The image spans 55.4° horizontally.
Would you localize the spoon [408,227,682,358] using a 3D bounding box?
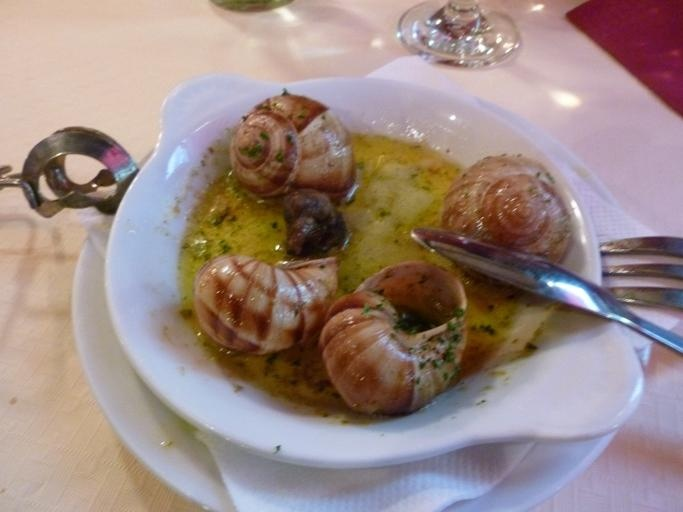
[{"bbox_3d":[0.481,0.091,1.516,0.805,0.094,0.086,18,75,36],"label":"spoon"}]
